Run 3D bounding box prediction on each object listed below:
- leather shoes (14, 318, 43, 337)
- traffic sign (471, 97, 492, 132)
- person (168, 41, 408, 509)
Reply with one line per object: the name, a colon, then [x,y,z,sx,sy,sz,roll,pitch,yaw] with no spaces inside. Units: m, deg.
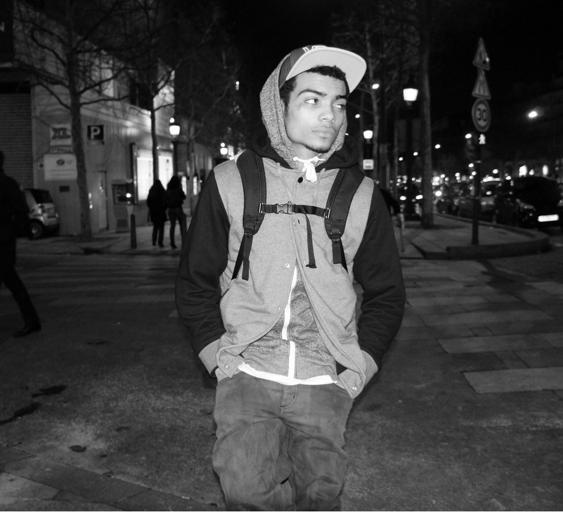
leather shoes: [-3.359,0.967,7.164,0.369,0.327,0.147,1,0,-34]
traffic sign: [5.352,-3.817,14.431,0.440,0.965,2.019,2,10,20]
person: [0.062,0.087,1.840,0.759,1.614,0.701,-5,9,-25]
